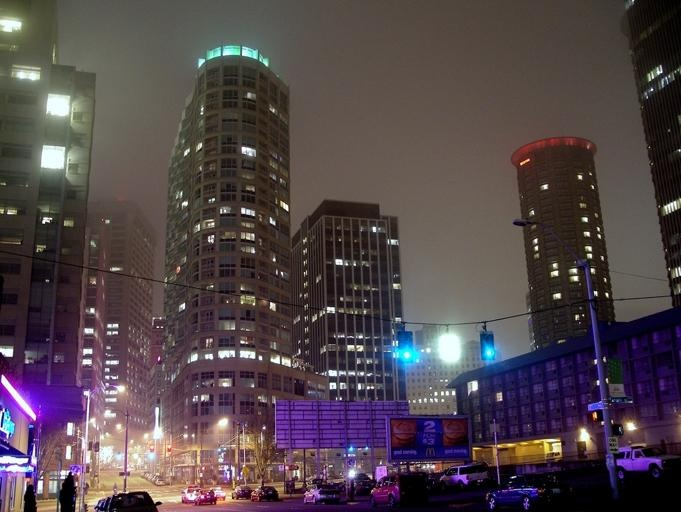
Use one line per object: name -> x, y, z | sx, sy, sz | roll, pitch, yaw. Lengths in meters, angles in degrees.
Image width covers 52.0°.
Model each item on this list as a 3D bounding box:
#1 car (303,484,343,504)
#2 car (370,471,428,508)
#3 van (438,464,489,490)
car -> -1.951, 26.692, 78.379 | 3.095, 2.138, 6.024 | 8, -24, -25
car -> 5.300, 22.386, 67.145 | 2.748, 2.513, 5.716 | 5, -14, -18
van -> 14.616, 26.515, 84.431 | 2.893, 2.593, 5.214 | 10, -14, -38
